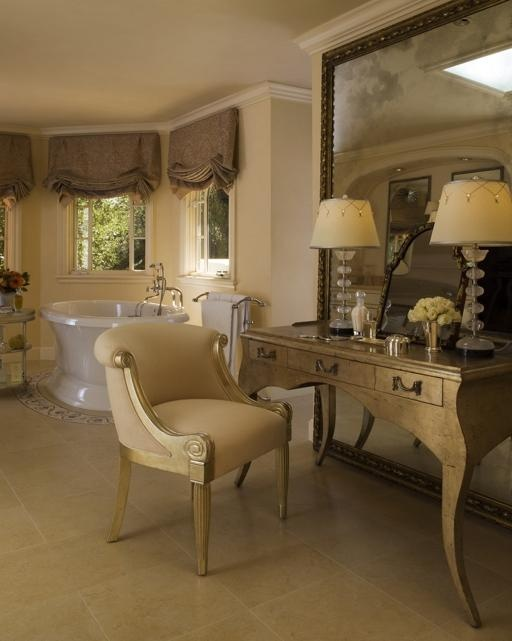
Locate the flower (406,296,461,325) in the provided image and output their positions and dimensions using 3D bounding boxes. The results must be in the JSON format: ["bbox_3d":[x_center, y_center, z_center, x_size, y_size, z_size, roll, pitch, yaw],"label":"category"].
[{"bbox_3d":[0.671,-0.053,1.812,0.123,0.082,0.136,4,8,44],"label":"flower"}]

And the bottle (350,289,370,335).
[{"bbox_3d":[0.470,-0.029,2.152,0.096,0.191,0.084,-1,3,-6],"label":"bottle"}]

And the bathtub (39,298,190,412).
[{"bbox_3d":[-1.174,0.265,4.147,1.024,0.611,1.339,-2,8,-27],"label":"bathtub"}]

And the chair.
[{"bbox_3d":[-0.263,0.423,1.958,0.620,0.773,0.684,5,7,32],"label":"chair"}]

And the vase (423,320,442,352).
[{"bbox_3d":[0.632,0.058,1.828,0.097,0.122,0.087,-1,2,6],"label":"vase"}]
